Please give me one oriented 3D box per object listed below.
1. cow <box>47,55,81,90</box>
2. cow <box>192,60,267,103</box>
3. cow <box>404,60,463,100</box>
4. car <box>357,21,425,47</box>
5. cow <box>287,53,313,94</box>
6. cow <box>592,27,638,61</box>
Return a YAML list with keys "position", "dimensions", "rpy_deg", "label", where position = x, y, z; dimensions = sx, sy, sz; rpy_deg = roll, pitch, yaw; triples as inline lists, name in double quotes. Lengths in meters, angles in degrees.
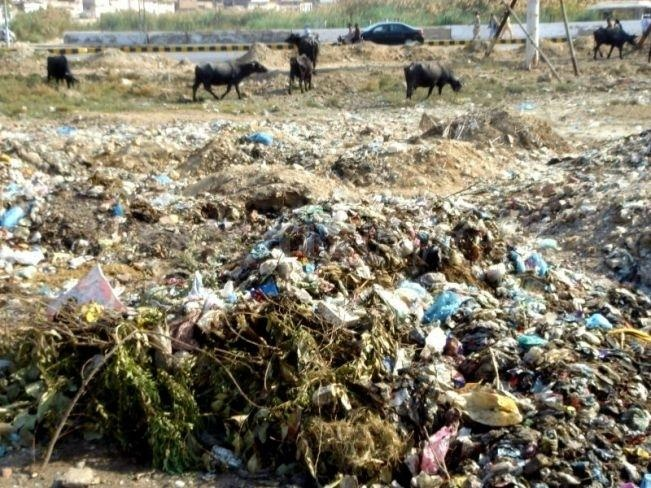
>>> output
- position: [-5.798, -3.812, 17.997]
  dimensions: [0.649, 0.684, 0.789]
  rpy_deg: [-5, 20, -19]
  label: "cow"
- position: [-2.282, -3.731, 18.573]
  dimensions: [0.728, 0.821, 2.274]
  rpy_deg: [10, 22, 24]
  label: "cow"
- position: [2.264, -3.549, 17.707]
  dimensions: [1.241, 0.763, 0.452]
  rpy_deg: [-7, 20, -25]
  label: "cow"
- position: [2.170, -6.862, 26.685]
  dimensions: [1.728, 0.660, 0.936]
  rpy_deg: [2, 29, -5]
  label: "car"
- position: [-0.596, -3.958, 18.972]
  dimensions: [0.497, 0.835, 1.040]
  rpy_deg: [3, 19, 5]
  label: "cow"
- position: [8.119, -5.680, 23.175]
  dimensions: [1.034, 0.841, 1.876]
  rpy_deg: [10, 21, 22]
  label: "cow"
